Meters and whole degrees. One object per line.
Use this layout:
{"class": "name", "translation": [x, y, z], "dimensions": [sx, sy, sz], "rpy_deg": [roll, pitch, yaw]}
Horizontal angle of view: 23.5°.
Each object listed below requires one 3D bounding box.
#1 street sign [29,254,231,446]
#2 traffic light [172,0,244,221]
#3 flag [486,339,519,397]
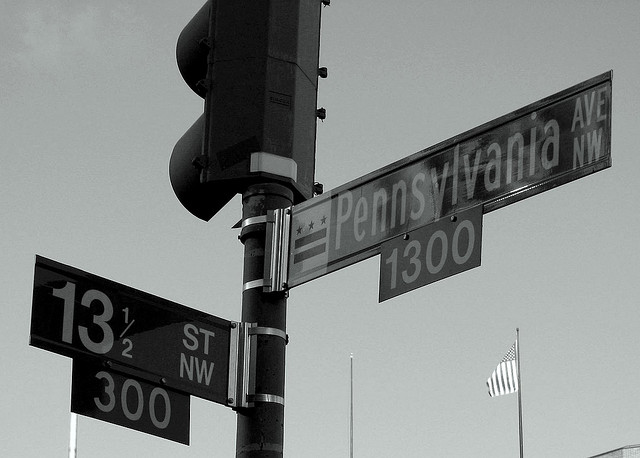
{"class": "street sign", "translation": [-1.488, 0.932, 11.538], "dimensions": [1.192, 0.902, 0.126], "rpy_deg": [19, -30, -25]}
{"class": "traffic light", "translation": [-0.990, -1.044, 12.722], "dimensions": [0.532, 1.761, 0.859], "rpy_deg": [-5, -36, 6]}
{"class": "flag", "translation": [3.889, 2.950, 32.740], "dimensions": [0.683, 0.048, 1.479], "rpy_deg": [-8, -57, -2]}
